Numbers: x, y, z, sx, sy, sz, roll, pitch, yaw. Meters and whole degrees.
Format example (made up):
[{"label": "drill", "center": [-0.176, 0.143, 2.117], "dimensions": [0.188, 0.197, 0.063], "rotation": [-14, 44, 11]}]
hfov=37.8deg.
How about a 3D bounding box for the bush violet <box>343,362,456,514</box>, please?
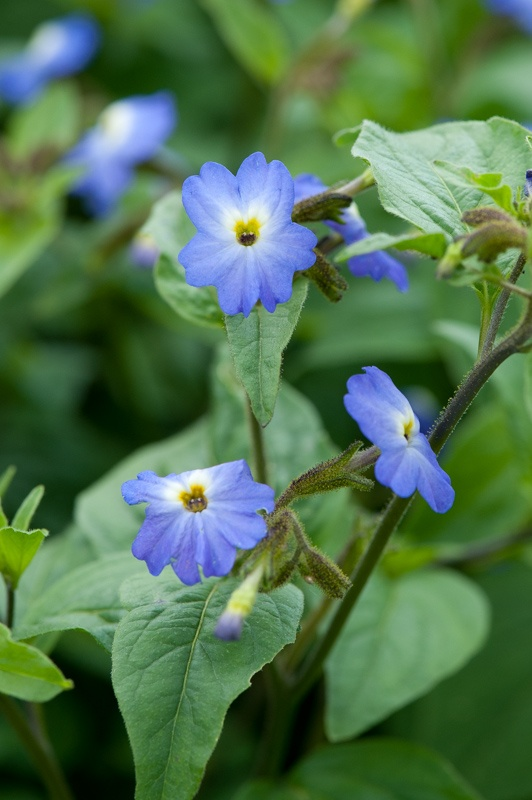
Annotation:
[{"label": "bush violet", "center": [0.098, 0.038, 0.598], "dimensions": [0.070, 0.111, 0.111], "rotation": [-11, 39, -6]}]
